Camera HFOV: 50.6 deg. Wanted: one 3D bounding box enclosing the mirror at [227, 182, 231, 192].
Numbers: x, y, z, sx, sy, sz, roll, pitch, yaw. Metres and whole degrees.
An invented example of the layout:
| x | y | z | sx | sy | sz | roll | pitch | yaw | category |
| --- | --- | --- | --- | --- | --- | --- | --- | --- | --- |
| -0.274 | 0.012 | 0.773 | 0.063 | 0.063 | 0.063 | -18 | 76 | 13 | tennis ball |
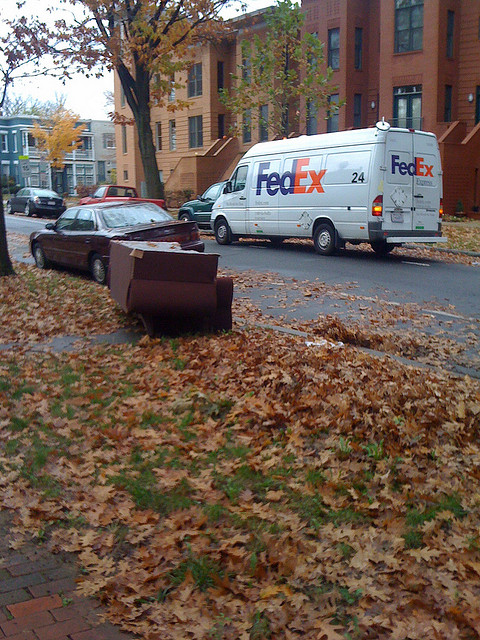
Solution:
| x | y | z | sx | sy | sz | roll | pitch | yaw | category |
| --- | --- | --- | --- | --- | --- | --- | --- | --- | --- |
| -0.389 | -4.521 | 17.301 | 0.110 | 0.324 | 0.260 | -8 | 11 | -21 | mirror |

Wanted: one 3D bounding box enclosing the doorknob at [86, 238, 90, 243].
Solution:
| x | y | z | sx | sy | sz | roll | pitch | yaw | category |
| --- | --- | --- | --- | --- | --- | --- | --- | --- | --- |
| -3.230 | -1.692 | 10.770 | 0.038 | 0.094 | 0.154 | -10 | 12 | -30 | doorknob |

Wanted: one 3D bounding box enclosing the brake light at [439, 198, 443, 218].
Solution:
| x | y | z | sx | sy | sz | roll | pitch | yaw | category |
| --- | --- | --- | --- | --- | --- | --- | --- | --- | --- |
| 5.739 | -3.218 | 14.604 | 0.138 | 0.530 | 0.037 | -12 | 12 | -39 | brake light |

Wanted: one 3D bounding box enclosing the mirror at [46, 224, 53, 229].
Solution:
| x | y | z | sx | sy | sz | roll | pitch | yaw | category |
| --- | --- | --- | --- | --- | --- | --- | --- | --- | --- |
| -4.693 | -2.305 | 12.521 | 0.146 | 0.111 | 0.171 | -7 | 11 | -13 | mirror |

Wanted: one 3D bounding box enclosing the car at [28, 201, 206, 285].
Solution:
| x | y | z | sx | sy | sz | roll | pitch | yaw | category |
| --- | --- | --- | --- | --- | --- | --- | --- | --- | --- |
| -3.004 | -2.061 | 11.607 | 2.035 | 1.461 | 4.395 | -11 | 19 | -38 | car |

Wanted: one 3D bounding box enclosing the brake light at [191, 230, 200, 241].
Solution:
| x | y | z | sx | sy | sz | roll | pitch | yaw | category |
| --- | --- | --- | --- | --- | --- | --- | --- | --- | --- |
| -0.927 | -1.769 | 10.591 | 0.098 | 0.214 | 0.387 | -2 | 11 | 12 | brake light |

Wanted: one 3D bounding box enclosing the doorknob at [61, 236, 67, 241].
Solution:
| x | y | z | sx | sy | sz | roll | pitch | yaw | category |
| --- | --- | --- | --- | --- | --- | --- | --- | --- | --- |
| -4.102 | -1.911 | 11.829 | 0.154 | 0.103 | 0.114 | 4 | 26 | -15 | doorknob |

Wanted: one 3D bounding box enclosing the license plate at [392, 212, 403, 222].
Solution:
| x | y | z | sx | sy | sz | roll | pitch | yaw | category |
| --- | --- | --- | --- | --- | --- | --- | --- | --- | --- |
| 4.192 | -2.748 | 13.591 | 0.374 | 0.255 | 0.070 | -13 | 13 | -41 | license plate |

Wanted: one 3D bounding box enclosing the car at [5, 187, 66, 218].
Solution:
| x | y | z | sx | sy | sz | roll | pitch | yaw | category |
| --- | --- | --- | --- | --- | --- | --- | --- | --- | --- |
| -13.168 | -7.484 | 32.834 | 2.119 | 1.607 | 4.884 | -9 | 18 | -38 | car |

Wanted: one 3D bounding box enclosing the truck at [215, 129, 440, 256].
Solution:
| x | y | z | sx | sy | sz | roll | pitch | yaw | category |
| --- | --- | --- | --- | --- | --- | --- | --- | --- | --- |
| 2.136 | -3.981 | 15.906 | 7.245 | 3.343 | 2.731 | 5 | 13 | 41 | truck |
